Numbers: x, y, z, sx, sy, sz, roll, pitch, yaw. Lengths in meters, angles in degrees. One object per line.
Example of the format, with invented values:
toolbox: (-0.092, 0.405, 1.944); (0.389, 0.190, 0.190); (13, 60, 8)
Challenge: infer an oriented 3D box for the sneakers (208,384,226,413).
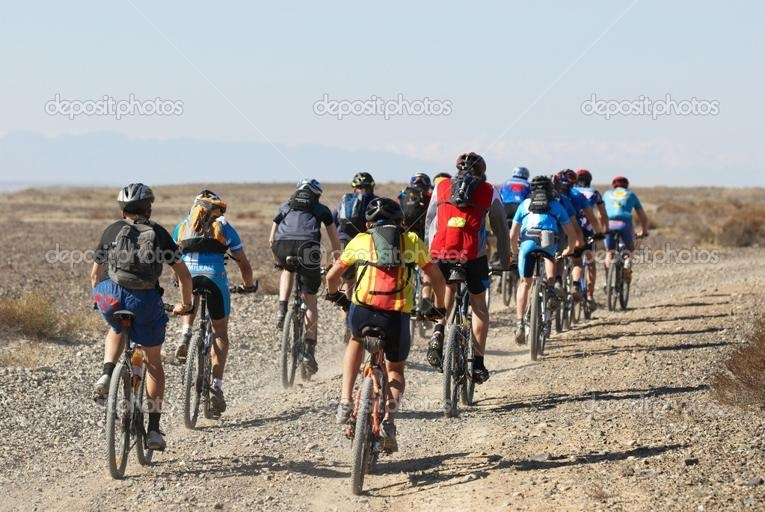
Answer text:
sneakers: (-3.024, 2.638, 22.541); (0.199, 0.604, 0.268); (-5, 20, 3)

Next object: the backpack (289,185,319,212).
backpack: (-1.546, -1.129, 24.076); (0.388, 0.511, 0.530); (8, -13, 9)

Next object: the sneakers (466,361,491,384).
sneakers: (1.724, 2.115, 22.499); (0.211, 0.295, 0.606); (2, 5, 2)

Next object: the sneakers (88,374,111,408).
sneakers: (-4.752, 2.273, 20.656); (0.226, 0.568, 0.263); (5, 33, -12)

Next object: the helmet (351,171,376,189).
helmet: (-0.426, -1.536, 24.998); (0.404, 0.355, 0.375); (-1, 14, 1)

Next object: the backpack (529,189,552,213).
backpack: (3.152, -1.124, 24.690); (0.380, 0.439, 0.439); (3, 9, 14)
